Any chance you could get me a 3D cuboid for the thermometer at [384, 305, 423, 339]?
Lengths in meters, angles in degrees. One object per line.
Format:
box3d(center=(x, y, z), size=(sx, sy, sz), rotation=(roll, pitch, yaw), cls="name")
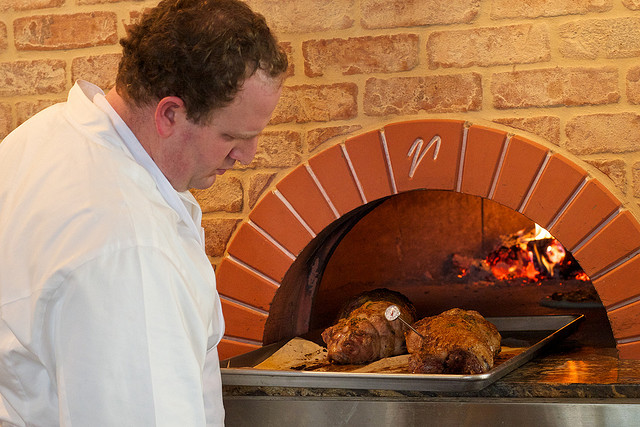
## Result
box3d(center=(0.298, 0.393, 2.509), size=(0.178, 0.031, 0.059), rotation=(38, 91, -2), cls="thermometer")
